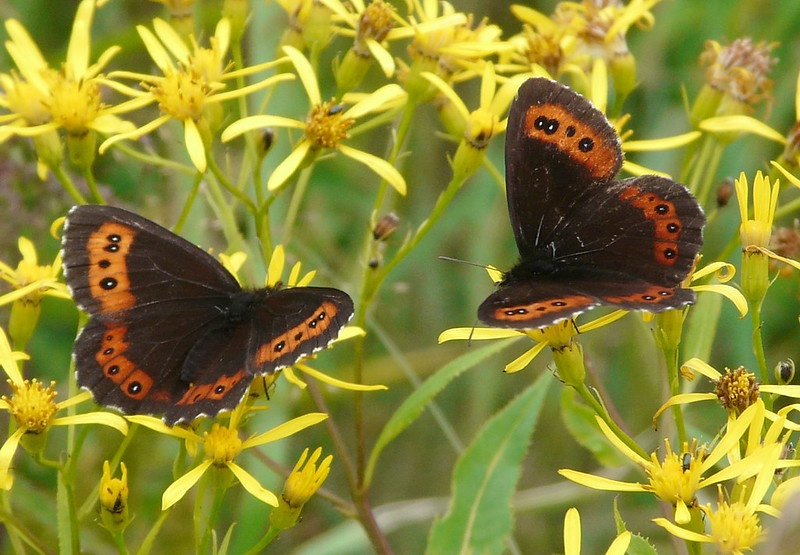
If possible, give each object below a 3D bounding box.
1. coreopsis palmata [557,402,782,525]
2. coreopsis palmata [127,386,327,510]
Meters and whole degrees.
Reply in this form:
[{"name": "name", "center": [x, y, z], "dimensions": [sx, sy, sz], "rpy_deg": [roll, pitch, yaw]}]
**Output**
[{"name": "coreopsis palmata", "center": [0.433, 0.255, 1.419], "dimensions": [0.255, 0.258, 0.125], "rpy_deg": [-7, 88, -33]}, {"name": "coreopsis palmata", "center": [-0.306, 0.316, 1.510], "dimensions": [0.239, 0.063, 0.243], "rpy_deg": [31, 51, 27]}]
